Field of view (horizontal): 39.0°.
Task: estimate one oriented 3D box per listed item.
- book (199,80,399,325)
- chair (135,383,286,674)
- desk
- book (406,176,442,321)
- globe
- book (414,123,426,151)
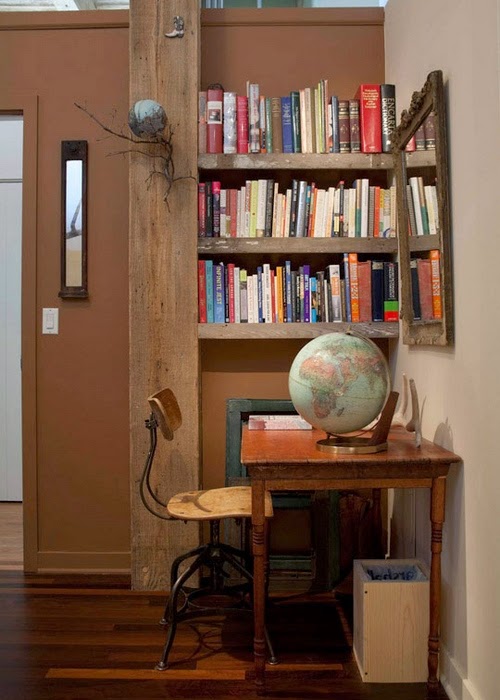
[{"bbox_3d":[0.211,-0.621,3.048,1.010,1.019,0.352,0,-2,-6],"label":"book"},{"bbox_3d":[-0.151,0.664,2.694,0.505,0.955,0.446,0,0,-6],"label":"chair"},{"bbox_3d":[0.297,0.735,2.399,0.795,0.798,0.675,-2,-17,10],"label":"desk"},{"bbox_3d":[0.637,-0.374,2.560,0.160,0.504,0.519,-2,3,9],"label":"book"},{"bbox_3d":[0.357,0.128,2.422,0.363,0.445,0.358,1,0,17],"label":"globe"},{"bbox_3d":[0.625,-0.785,2.588,0.062,0.069,0.067,-1,3,4],"label":"book"}]
